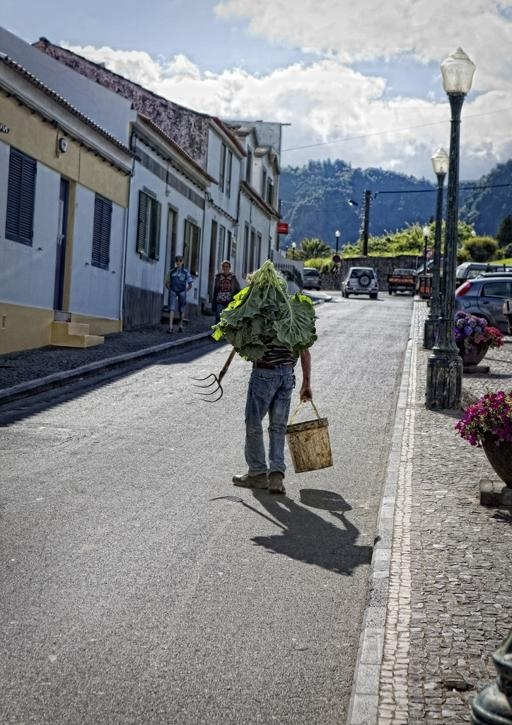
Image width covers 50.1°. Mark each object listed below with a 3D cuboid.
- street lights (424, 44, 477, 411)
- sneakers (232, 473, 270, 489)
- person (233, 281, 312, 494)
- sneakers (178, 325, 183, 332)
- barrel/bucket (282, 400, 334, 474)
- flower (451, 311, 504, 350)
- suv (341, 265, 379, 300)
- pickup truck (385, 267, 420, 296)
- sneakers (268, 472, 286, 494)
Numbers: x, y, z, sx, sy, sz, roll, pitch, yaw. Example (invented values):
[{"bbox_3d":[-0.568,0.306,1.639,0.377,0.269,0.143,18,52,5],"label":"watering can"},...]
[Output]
[{"bbox_3d":[3.387,-2.271,9.573,0.708,6.215,0.621,0,2,-38],"label":"street lights"},{"bbox_3d":[-0.045,1.214,5.727,0.386,0.190,0.147,6,-4,7],"label":"sneakers"},{"bbox_3d":[0.178,0.322,5.828,0.816,2.026,0.703,1,2,5],"label":"person"},{"bbox_3d":[-2.631,-1.144,18.860,0.243,0.284,0.156,-3,12,-12],"label":"sneakers"},{"bbox_3d":[0.584,0.771,6.094,0.623,0.846,0.570,-8,-10,-1],"label":"barrel/bucket"},{"bbox_3d":[5.167,-0.753,13.176,0.895,0.649,0.907,-6,13,-18],"label":"flower"},{"bbox_3d":[8.592,-6.621,45.244,1.929,1.868,3.667,0,12,3],"label":"suv"},{"bbox_3d":[13.959,-7.534,51.812,2.496,2.509,2.525,2,2,17],"label":"pickup truck"},{"bbox_3d":[0.222,1.237,5.615,0.203,0.216,0.138,1,2,-14],"label":"sneakers"}]
